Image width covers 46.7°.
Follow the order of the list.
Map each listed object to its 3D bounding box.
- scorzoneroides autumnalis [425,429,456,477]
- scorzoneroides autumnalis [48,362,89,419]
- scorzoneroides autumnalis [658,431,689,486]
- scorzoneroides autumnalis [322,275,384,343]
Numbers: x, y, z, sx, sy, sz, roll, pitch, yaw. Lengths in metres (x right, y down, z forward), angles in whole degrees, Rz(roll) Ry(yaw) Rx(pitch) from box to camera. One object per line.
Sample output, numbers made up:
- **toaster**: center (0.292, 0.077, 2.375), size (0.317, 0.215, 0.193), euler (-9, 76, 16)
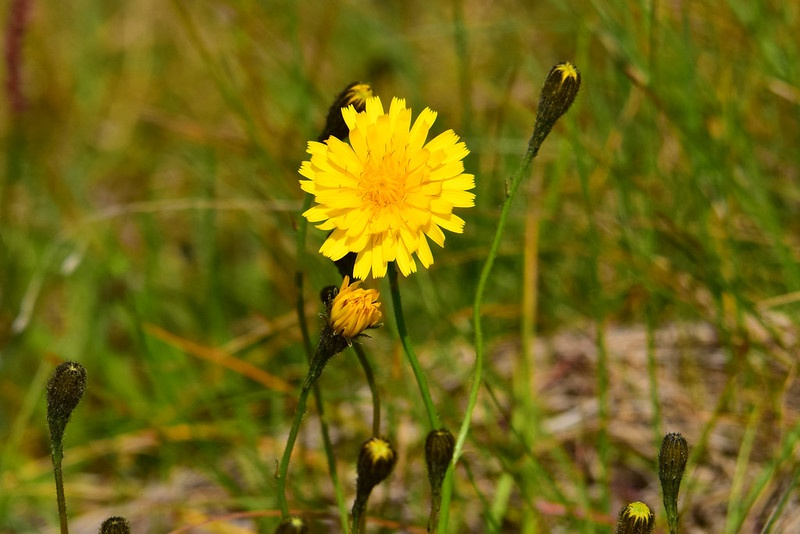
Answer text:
- **scorzoneroides autumnalis**: center (0.101, 0.505, 2.574), size (0.065, 0.136, 0.048), euler (0, 9, -18)
- **scorzoneroides autumnalis**: center (-0.946, 0.342, 2.659), size (0.085, 0.172, 0.091), euler (-1, 40, -34)
- **scorzoneroides autumnalis**: center (0.759, 0.520, 2.605), size (0.073, 0.126, 0.129), euler (0, 34, 15)
- **scorzoneroides autumnalis**: center (-0.125, 0.121, 2.619), size (0.152, 0.156, 0.153), euler (48, 21, 14)
